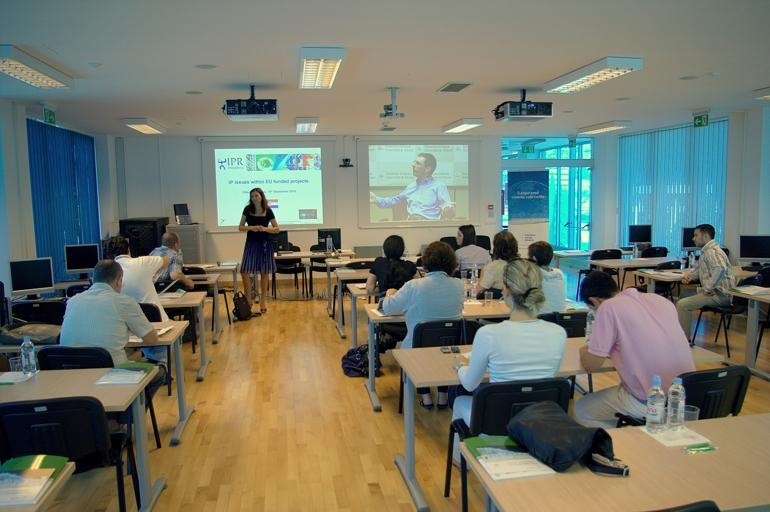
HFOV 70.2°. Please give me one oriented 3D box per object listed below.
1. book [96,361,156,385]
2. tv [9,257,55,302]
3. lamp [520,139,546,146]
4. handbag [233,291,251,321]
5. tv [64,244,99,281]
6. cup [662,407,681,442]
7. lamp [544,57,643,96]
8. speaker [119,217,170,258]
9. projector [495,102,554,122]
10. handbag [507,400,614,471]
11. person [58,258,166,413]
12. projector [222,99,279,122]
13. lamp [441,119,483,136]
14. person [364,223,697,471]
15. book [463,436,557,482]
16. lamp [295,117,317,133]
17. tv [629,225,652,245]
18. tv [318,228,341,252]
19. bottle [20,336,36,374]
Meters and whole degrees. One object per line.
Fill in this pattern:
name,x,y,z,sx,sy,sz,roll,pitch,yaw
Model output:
book,-2.168,0.972,4.564,0.376,0.105,0.334,-3,4,-2
tv,-4.737,0.308,7.294,0.601,0.626,0.241,-3,-2,-39
lamp,3.753,-2.878,13.912,0.730,0.215,0.181,-5,6,-28
handbag,-2.393,0.840,9.142,0.166,0.452,0.292,-16,-4,44
tv,-4.603,0.081,8.289,0.675,0.704,0.255,-1,2,-31
cup,1.984,1.140,3.798,0.089,0.168,0.155,2,7,43
lamp,2.555,-2.237,6.822,0.404,0.113,1.000,-2,2,-17
speaker,-4.900,-0.369,11.250,0.875,0.700,0.865,-4,1,-11
projector,1.999,-2.138,8.017,0.737,0.268,0.429,-3,5,4
handbag,1.090,1.163,3.526,0.406,0.173,0.487,-11,21,-28
person,-2.612,0.678,5.211,0.856,1.189,0.717,7,11,8
projector,-1.856,-2.016,7.536,0.521,0.193,0.502,-1,3,-5
lamp,1.332,-2.333,9.821,0.346,0.105,1.118,1,3,-17
person,1.459,0.709,4.356,1.797,1.446,0.546,-4,6,-5
book,0.785,1.318,3.548,0.283,0.031,0.291,-3,14,-24
lamp,-1.417,-2.325,9.657,0.450,0.099,0.426,-1,-2,-3
tv,5.357,-0.447,11.562,0.464,0.368,0.061,0,8,1
tv,-1.100,-0.300,10.587,0.487,0.454,0.162,0,9,-5
bottle,-3.051,0.821,4.654,0.107,0.316,0.328,-8,7,-34
